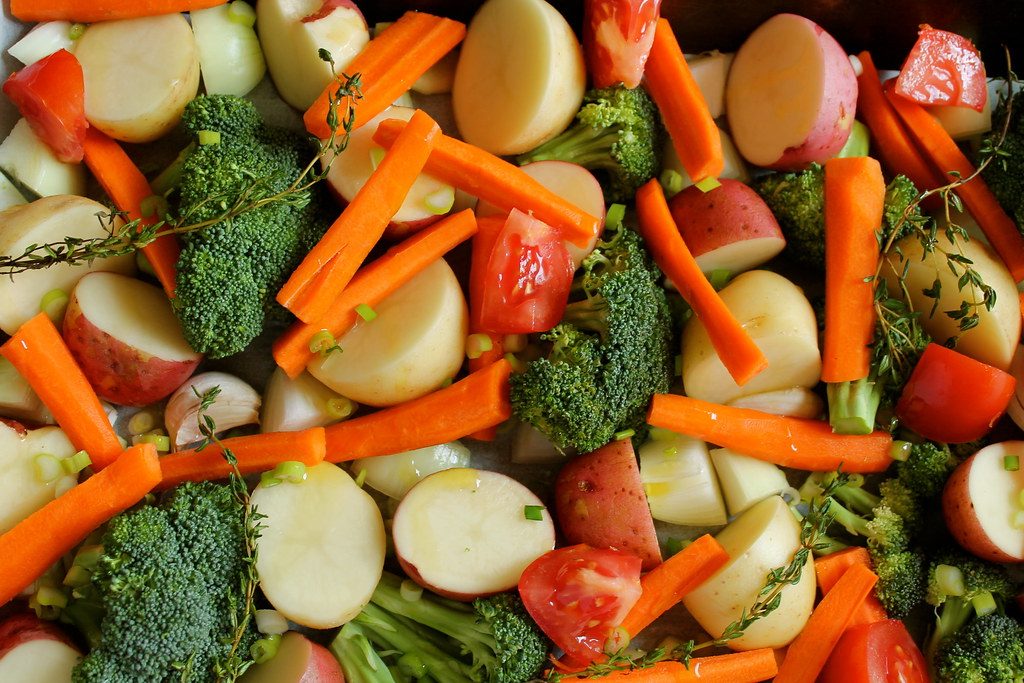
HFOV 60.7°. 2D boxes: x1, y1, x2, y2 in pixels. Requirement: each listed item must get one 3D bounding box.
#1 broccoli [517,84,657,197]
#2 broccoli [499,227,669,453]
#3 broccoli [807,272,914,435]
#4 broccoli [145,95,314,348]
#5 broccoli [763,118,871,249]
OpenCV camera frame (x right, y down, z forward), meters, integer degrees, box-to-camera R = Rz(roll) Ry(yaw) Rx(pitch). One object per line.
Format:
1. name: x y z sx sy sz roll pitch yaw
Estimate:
1. broccoli: 0.227 -0.572 2.805 0.392 0.346 0.371 0 91 -16
2. broccoli: 0.297 0.030 2.610 0.422 0.179 0.666 35 81 1
3. broccoli: 1.059 0.036 2.635 0.270 0.314 0.407 11 104 -26
4. broccoli: -0.893 -0.333 2.575 0.604 0.159 0.646 -33 116 -41
5. broccoli: 0.964 -0.484 2.818 0.323 0.188 0.404 31 94 10
